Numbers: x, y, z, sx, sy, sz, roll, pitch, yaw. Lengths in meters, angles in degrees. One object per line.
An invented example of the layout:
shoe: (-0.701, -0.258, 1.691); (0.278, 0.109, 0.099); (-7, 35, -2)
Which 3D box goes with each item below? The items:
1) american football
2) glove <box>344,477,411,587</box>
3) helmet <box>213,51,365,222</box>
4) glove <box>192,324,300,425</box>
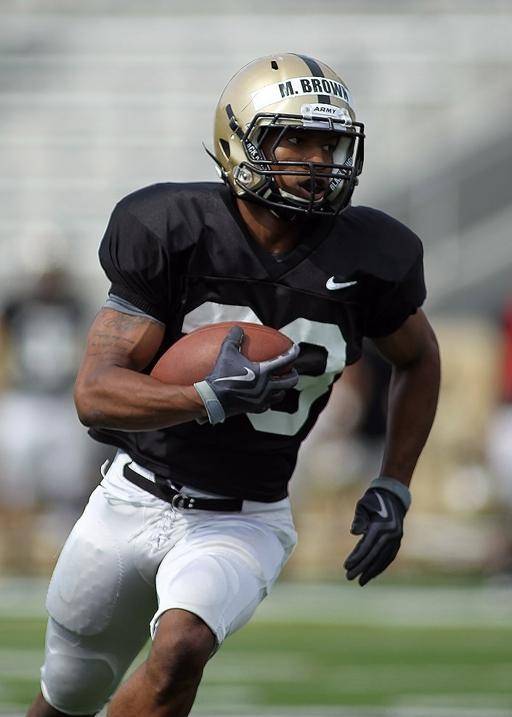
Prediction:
american football: (-0.076, -0.027, 1.692); (0.312, 0.116, 0.320); (-9, 5, -33)
glove: (0.260, 0.400, 1.978); (0.108, 0.145, 0.273); (-23, 34, 45)
helmet: (0.048, -0.523, 1.971); (0.360, 0.309, 0.420); (-3, 22, -24)
glove: (-0.003, 0.015, 1.620); (0.159, 0.239, 0.155); (-38, 69, 0)
